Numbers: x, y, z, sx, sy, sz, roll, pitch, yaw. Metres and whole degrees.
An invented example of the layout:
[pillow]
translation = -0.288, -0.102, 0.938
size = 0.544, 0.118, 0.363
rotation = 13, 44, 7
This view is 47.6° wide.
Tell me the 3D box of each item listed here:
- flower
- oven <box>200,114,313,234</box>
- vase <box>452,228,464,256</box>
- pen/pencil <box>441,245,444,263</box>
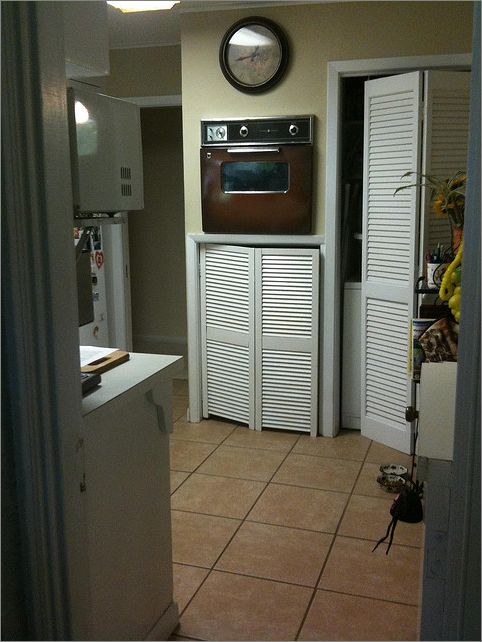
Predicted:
[flower]
translation = 0.642, -0.404, 1.732
size = 0.218, 0.163, 0.294
rotation = 4, 5, 0
[oven]
translation = 0.138, -0.859, 3.580
size = 0.722, 1.014, 0.573
rotation = 1, 6, 12
[vase]
translation = 0.685, -0.258, 1.733
size = 0.023, 0.086, 0.154
rotation = 2, 10, 21
[pen/pencil]
translation = 0.940, -0.325, 2.552
size = 0.010, 0.031, 1.052
rotation = 2, 10, 20
